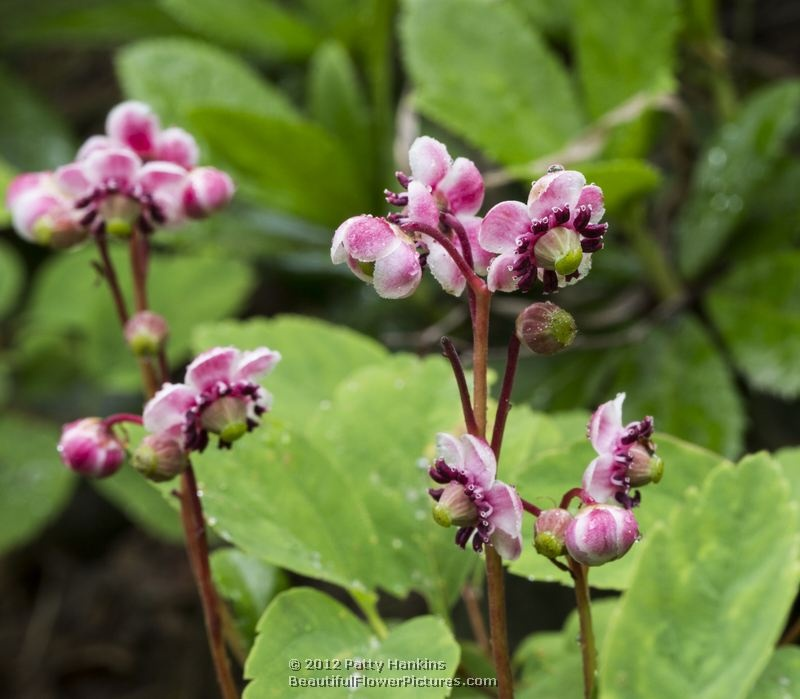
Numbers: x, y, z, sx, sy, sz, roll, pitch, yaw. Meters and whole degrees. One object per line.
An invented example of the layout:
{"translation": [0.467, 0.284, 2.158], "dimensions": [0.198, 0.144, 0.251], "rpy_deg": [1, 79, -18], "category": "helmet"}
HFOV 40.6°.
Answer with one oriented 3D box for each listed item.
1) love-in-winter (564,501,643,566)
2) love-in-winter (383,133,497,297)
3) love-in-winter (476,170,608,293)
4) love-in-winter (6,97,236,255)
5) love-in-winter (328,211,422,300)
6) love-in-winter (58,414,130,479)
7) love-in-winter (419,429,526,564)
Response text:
{"translation": [0.110, 0.101, 0.591], "dimensions": [0.048, 0.036, 0.035], "rpy_deg": [-3, 6, 8], "category": "love-in-winter"}
{"translation": [0.028, -0.079, 0.620], "dimensions": [0.026, 0.085, 0.082], "rpy_deg": [-18, 40, 23], "category": "love-in-winter"}
{"translation": [0.080, -0.064, 0.598], "dimensions": [0.069, 0.065, 0.048], "rpy_deg": [0, 45, 5], "category": "love-in-winter"}
{"translation": [-0.173, -0.101, 0.658], "dimensions": [0.129, 0.066, 0.073], "rpy_deg": [-19, 46, -15], "category": "love-in-winter"}
{"translation": [-0.010, -0.052, 0.597], "dimensions": [0.049, 0.041, 0.037], "rpy_deg": [25, 52, 27], "category": "love-in-winter"}
{"translation": [-0.184, 0.059, 0.645], "dimensions": [0.035, 0.031, 0.034], "rpy_deg": [-20, 46, -15], "category": "love-in-winter"}
{"translation": [0.043, 0.083, 0.594], "dimensions": [0.053, 0.071, 0.041], "rpy_deg": [4, 46, 10], "category": "love-in-winter"}
